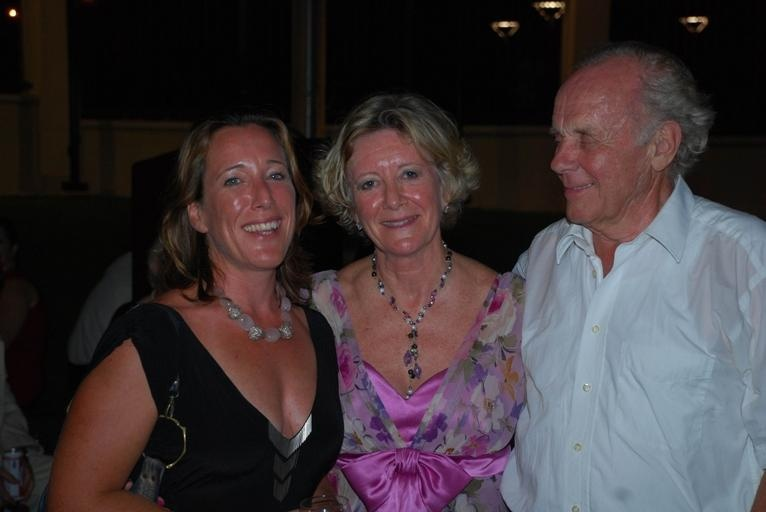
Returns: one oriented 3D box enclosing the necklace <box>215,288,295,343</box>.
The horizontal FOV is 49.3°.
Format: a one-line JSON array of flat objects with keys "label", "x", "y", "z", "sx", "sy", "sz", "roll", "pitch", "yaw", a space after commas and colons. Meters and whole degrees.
[{"label": "necklace", "x": -0.698, "y": 0.321, "z": 4.823, "sx": 0.465, "sy": 0.093, "sz": 0.519, "roll": 6, "pitch": 23, "yaw": -27}]
